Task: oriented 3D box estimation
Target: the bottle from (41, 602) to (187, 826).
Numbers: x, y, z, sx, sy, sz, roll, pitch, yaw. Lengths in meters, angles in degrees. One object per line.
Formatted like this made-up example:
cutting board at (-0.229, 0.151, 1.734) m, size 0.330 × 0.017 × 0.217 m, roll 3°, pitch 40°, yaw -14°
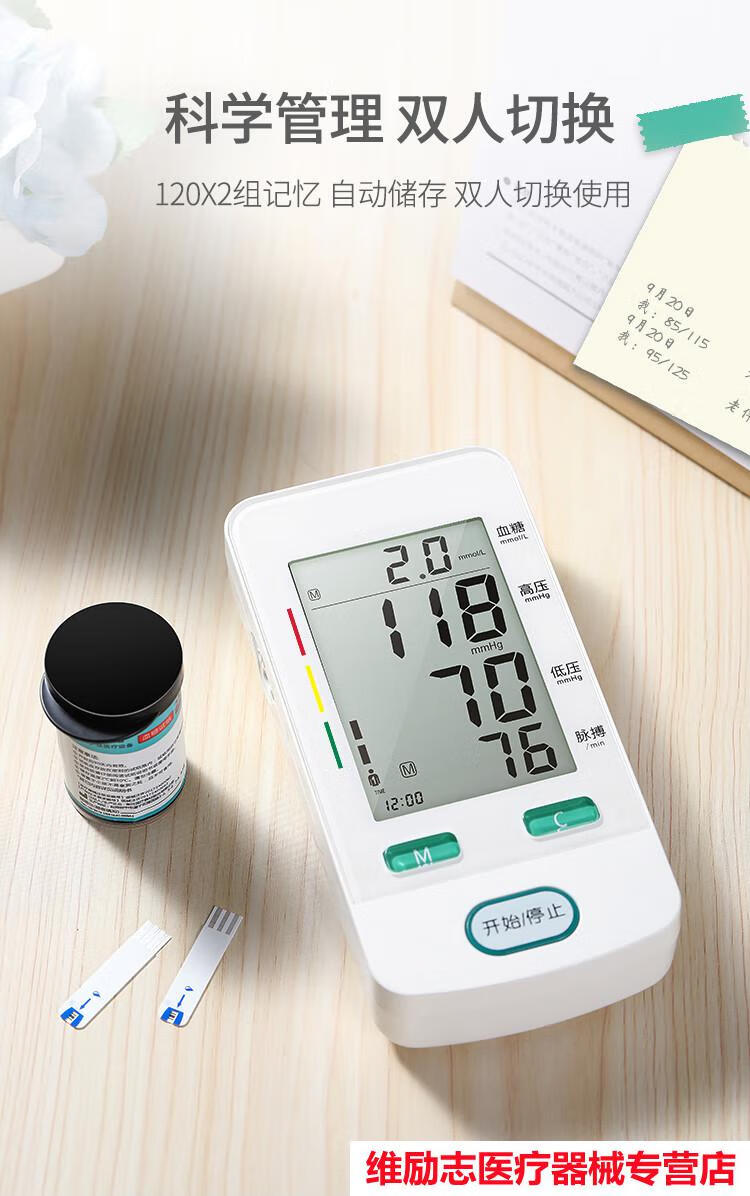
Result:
bottle at (-0.125, 0.064, 0.468) m, size 0.061 × 0.101 × 0.066 m, roll 4°, pitch 48°, yaw -5°
